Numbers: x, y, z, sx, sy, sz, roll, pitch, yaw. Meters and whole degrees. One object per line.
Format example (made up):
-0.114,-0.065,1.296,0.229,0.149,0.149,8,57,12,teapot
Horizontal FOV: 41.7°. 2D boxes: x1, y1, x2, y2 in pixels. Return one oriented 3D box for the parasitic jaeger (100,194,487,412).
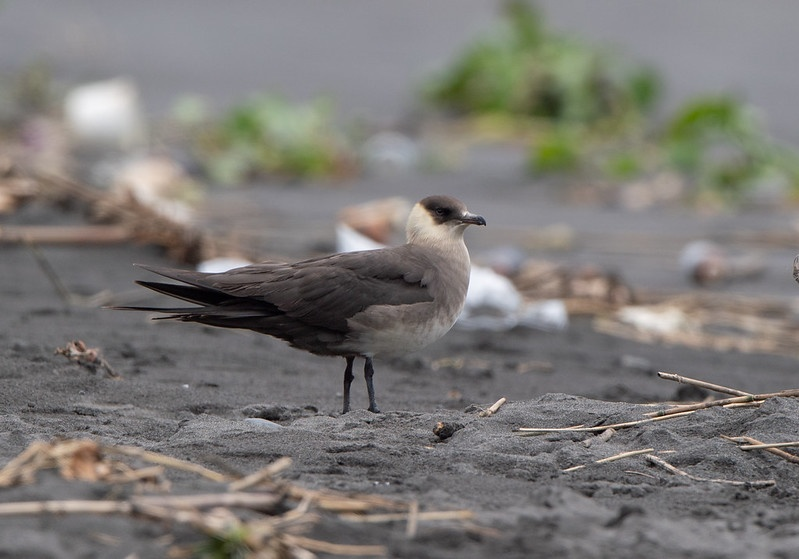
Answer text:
-0.520,0.189,8.765,2.572,1.767,0.746,0,10,-11,parasitic jaeger
